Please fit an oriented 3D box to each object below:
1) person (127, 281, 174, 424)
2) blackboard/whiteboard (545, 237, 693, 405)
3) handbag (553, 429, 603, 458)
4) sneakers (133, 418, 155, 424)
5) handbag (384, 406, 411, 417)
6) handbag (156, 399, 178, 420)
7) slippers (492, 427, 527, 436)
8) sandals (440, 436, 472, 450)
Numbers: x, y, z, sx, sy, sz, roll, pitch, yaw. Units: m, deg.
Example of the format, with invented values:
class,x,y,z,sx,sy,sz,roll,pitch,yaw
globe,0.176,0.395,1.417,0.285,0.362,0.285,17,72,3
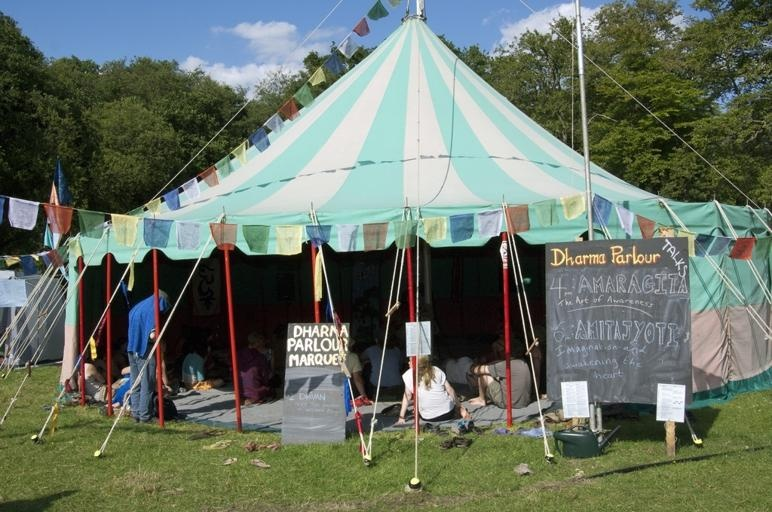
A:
class,x,y,z,sx,sy,sz,roll,pitch,yaw
person,-3.726,1.567,13.525,0.499,2.006,0.883,4,-10,-36
blackboard/whiteboard,3.380,0.990,12.420,2.297,2.662,0.114,0,-3,7
handbag,2.687,2.677,12.286,0.493,0.320,0.386,-4,-2,10
sneakers,-3.773,2.549,13.540,0.288,0.138,0.108,-2,-2,18
handbag,0.158,2.436,13.636,0.312,0.118,0.175,8,-8,-11
handbag,-3.475,2.434,13.805,0.273,0.375,0.319,1,0,24
slippers,1.850,2.624,12.999,0.446,0.090,0.159,-3,-8,9
sandals,1.031,2.724,12.661,0.471,0.165,0.208,-2,-8,1
